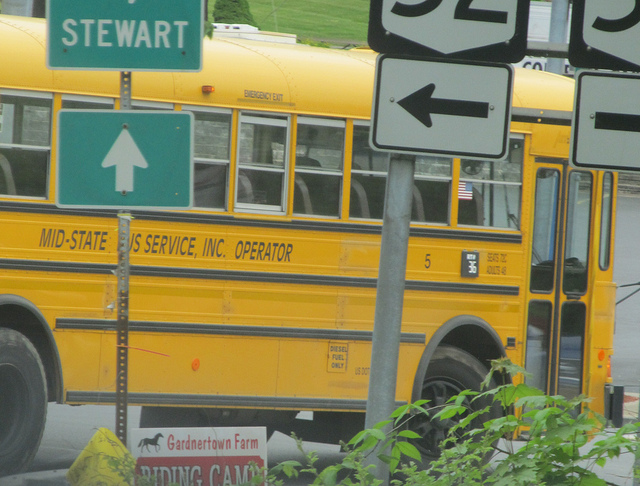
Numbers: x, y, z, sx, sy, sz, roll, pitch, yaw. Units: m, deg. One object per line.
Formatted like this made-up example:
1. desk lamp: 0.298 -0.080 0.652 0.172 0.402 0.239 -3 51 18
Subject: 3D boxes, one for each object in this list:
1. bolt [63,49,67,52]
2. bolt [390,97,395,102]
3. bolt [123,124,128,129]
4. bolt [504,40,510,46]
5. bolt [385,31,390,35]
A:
1. bolt: -2.022 -1.544 13.815 0.027 0.026 0.006 11 6 1
2. bolt: 0.551 -1.089 13.099 0.033 0.033 0.005 1 -7 2
3. bolt: -1.549 -0.938 13.864 0.036 0.035 0.007 2 -7 -8
4. bolt: 1.421 -1.525 13.118 0.031 0.028 0.008 -11 -9 38
5. bolt: 0.514 -1.594 13.093 0.033 0.024 0.007 2 -7 -8
